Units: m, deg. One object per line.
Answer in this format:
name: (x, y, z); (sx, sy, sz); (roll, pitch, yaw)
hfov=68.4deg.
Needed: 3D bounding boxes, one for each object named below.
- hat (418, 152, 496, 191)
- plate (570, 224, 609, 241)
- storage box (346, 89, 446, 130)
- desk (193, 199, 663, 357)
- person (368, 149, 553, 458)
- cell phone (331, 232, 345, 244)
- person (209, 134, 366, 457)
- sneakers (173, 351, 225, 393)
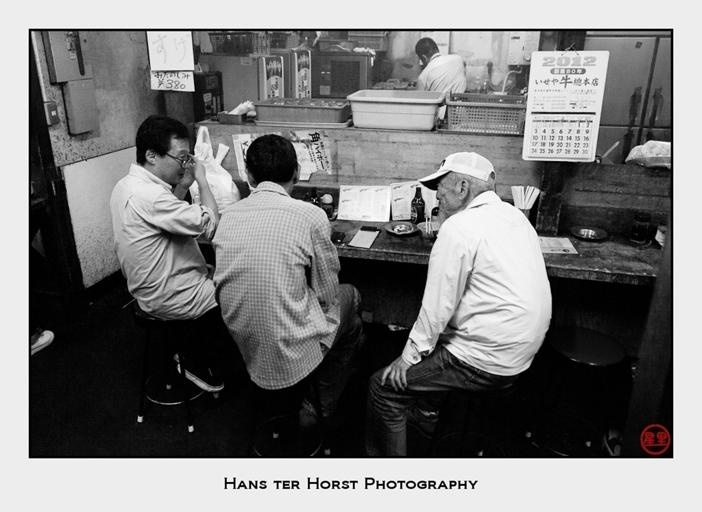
hat: (0.572, -0.485, 2.787); (0.324, 0.173, 0.213); (10, 13, 17)
plate: (1.658, -0.153, 3.601); (0.231, 0.061, 0.165); (2, 20, 3)
storage box: (0.358, -1.126, 4.023); (0.586, 0.200, 0.414); (3, 18, 6)
desk: (1.062, 0.199, 3.703); (2.118, 0.722, 0.669); (5, 30, 33)
person: (0.556, 0.438, 2.695); (0.920, 1.442, 0.352); (-2, 20, -9)
cell phone: (-0.089, -0.120, 3.585); (0.076, 0.019, 0.082); (8, 32, 11)
person: (-0.335, 0.278, 2.882); (0.591, 1.842, 0.694); (8, 21, 20)
sneakers: (-1.052, 0.811, 3.562); (0.375, 0.139, 0.152); (32, 21, 20)
